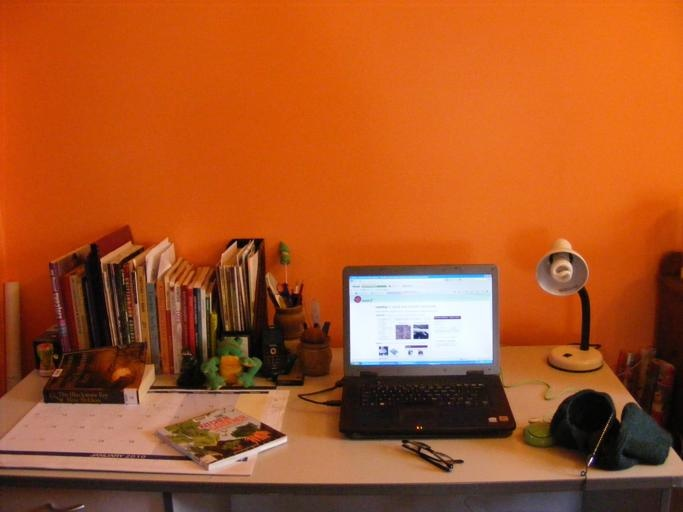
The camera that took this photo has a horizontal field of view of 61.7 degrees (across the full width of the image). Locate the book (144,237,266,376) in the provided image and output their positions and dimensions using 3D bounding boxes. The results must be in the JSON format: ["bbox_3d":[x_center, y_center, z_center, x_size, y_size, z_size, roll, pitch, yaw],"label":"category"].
[{"bbox_3d":[-0.455,0.143,2.318,0.450,0.597,0.456,1,15,-2],"label":"book"}]

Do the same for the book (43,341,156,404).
[{"bbox_3d":[-0.812,0.386,1.903,0.248,0.076,0.192,1,35,5],"label":"book"}]

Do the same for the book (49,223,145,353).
[{"bbox_3d":[-0.869,0.125,2.069,0.229,0.385,0.398,-5,12,8],"label":"book"}]

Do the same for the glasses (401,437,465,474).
[{"bbox_3d":[0.258,0.569,1.656,0.121,0.024,0.073,19,16,29],"label":"glasses"}]
